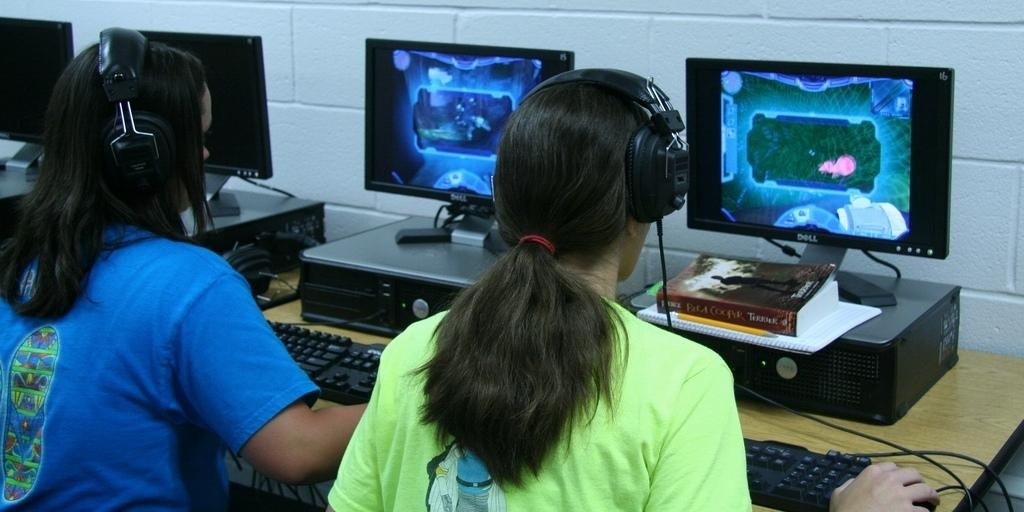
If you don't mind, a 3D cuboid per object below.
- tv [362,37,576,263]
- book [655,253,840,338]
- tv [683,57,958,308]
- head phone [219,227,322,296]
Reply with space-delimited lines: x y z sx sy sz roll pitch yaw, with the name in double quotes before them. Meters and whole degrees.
"tv" -0.140 -0.327 2.203 0.855 0.626 0.287 6 13 21
"book" 0.657 0.095 2.108 0.328 0.100 0.317 9 20 34
"tv" 0.903 -0.233 2.178 0.859 0.591 0.232 4 12 24
"head phone" -0.879 0.010 2.712 0.199 0.130 0.324 2 17 32
